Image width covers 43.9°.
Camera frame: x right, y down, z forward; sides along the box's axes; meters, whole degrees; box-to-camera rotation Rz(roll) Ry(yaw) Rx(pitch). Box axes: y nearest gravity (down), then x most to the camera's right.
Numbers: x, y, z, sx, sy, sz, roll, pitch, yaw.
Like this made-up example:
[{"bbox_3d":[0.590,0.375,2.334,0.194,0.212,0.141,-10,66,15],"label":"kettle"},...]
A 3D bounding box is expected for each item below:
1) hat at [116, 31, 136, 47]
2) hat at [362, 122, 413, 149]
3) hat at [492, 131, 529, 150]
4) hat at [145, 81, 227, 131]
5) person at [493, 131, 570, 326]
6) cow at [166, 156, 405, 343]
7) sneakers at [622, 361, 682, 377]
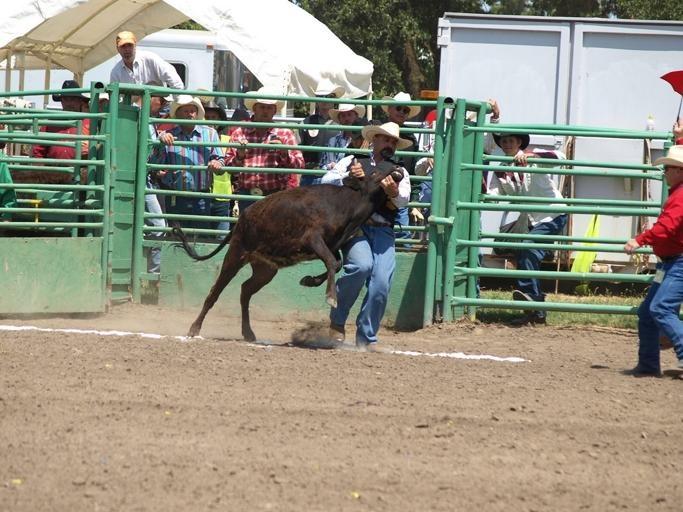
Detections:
[{"bbox_3d":[-2.597,-2.602,10.130,0.171,0.198,0.267,-1,8,-25],"label":"hat"},{"bbox_3d":[0.431,-1.135,7.862,0.470,0.226,0.422,1,7,-14],"label":"hat"},{"bbox_3d":[1.824,-1.251,9.171,0.406,0.164,0.341,4,7,15],"label":"hat"},{"bbox_3d":[-1.814,-1.773,9.679,0.625,0.260,0.702,-7,-3,-24],"label":"hat"},{"bbox_3d":[2.043,-0.307,9.246,0.863,2.030,1.090,3,7,5],"label":"person"},{"bbox_3d":[-0.378,-0.037,7.832,1.726,1.757,0.612,5,7,18],"label":"cow"},{"bbox_3d":[2.660,0.984,7.251,0.493,0.183,0.164,4,-7,10],"label":"sneakers"}]
